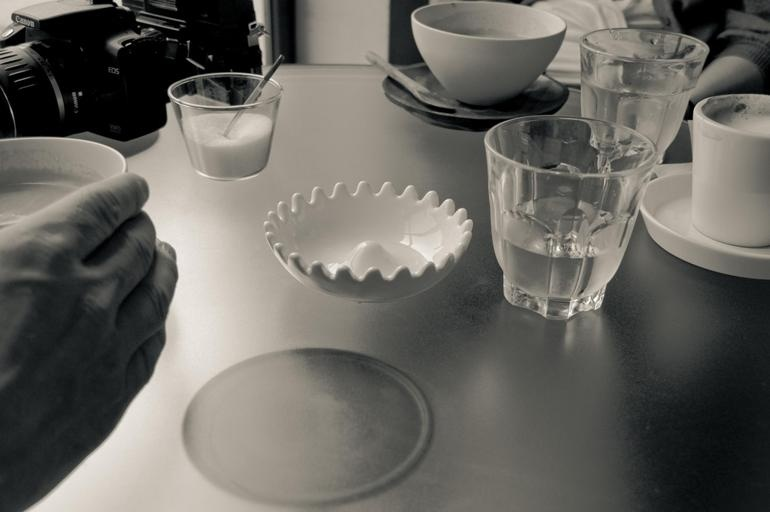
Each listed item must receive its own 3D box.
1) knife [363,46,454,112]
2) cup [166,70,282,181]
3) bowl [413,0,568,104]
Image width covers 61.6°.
[{"bbox_3d":[0.007,-0.341,1.166,0.059,0.054,0.349,-9,37,-27],"label":"knife"},{"bbox_3d":[-0.228,-0.185,0.934,0.157,0.126,0.176,1,32,-5],"label":"cup"},{"bbox_3d":[0.163,-0.338,1.052,0.202,0.126,0.211,9,26,-4],"label":"bowl"}]
